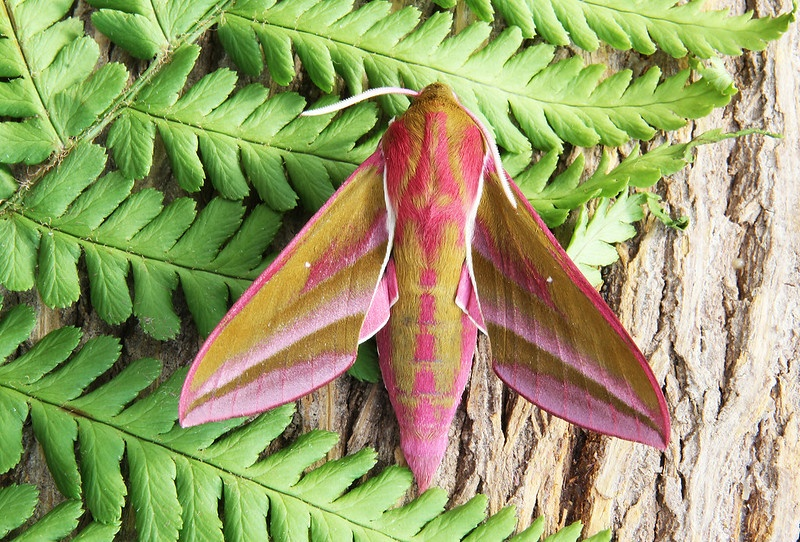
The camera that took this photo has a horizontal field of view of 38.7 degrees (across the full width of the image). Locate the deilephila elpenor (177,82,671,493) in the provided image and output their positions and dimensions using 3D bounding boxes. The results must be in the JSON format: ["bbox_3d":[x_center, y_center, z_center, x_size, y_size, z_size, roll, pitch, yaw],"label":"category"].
[{"bbox_3d":[-0.048,0.093,6.258,2.381,2.702,1.043,-22,28,18],"label":"deilephila elpenor"}]
